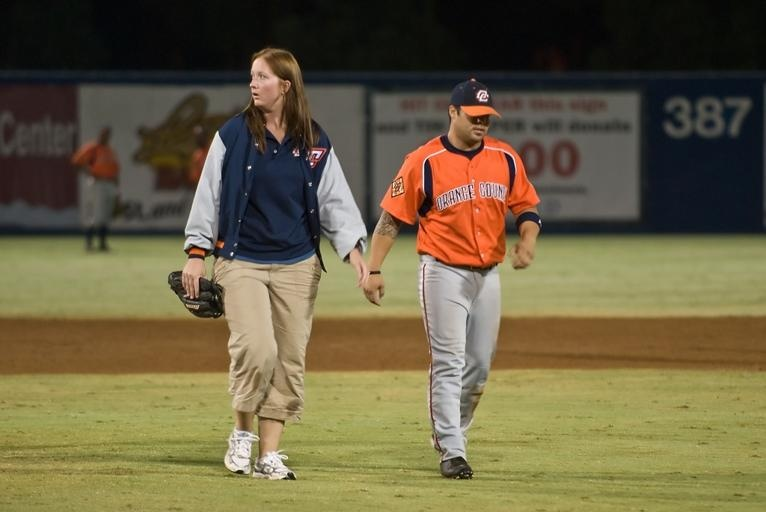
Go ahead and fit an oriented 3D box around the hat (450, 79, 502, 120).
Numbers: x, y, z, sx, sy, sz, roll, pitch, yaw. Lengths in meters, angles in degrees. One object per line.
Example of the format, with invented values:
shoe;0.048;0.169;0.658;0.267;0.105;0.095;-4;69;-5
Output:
hat;1.007;-1.737;16.890;0.346;0.262;0.513;-5;24;-36

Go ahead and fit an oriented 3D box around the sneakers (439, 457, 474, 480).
sneakers;0.822;2.293;16.776;0.357;0.225;0.124;1;12;3

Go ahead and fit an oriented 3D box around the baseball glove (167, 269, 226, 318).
baseball glove;-2.003;0.420;16.641;0.419;0.569;0.201;-37;15;40

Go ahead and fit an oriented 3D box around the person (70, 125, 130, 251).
person;-4.641;-1.033;24.712;0.664;2.030;1.188;1;12;3
